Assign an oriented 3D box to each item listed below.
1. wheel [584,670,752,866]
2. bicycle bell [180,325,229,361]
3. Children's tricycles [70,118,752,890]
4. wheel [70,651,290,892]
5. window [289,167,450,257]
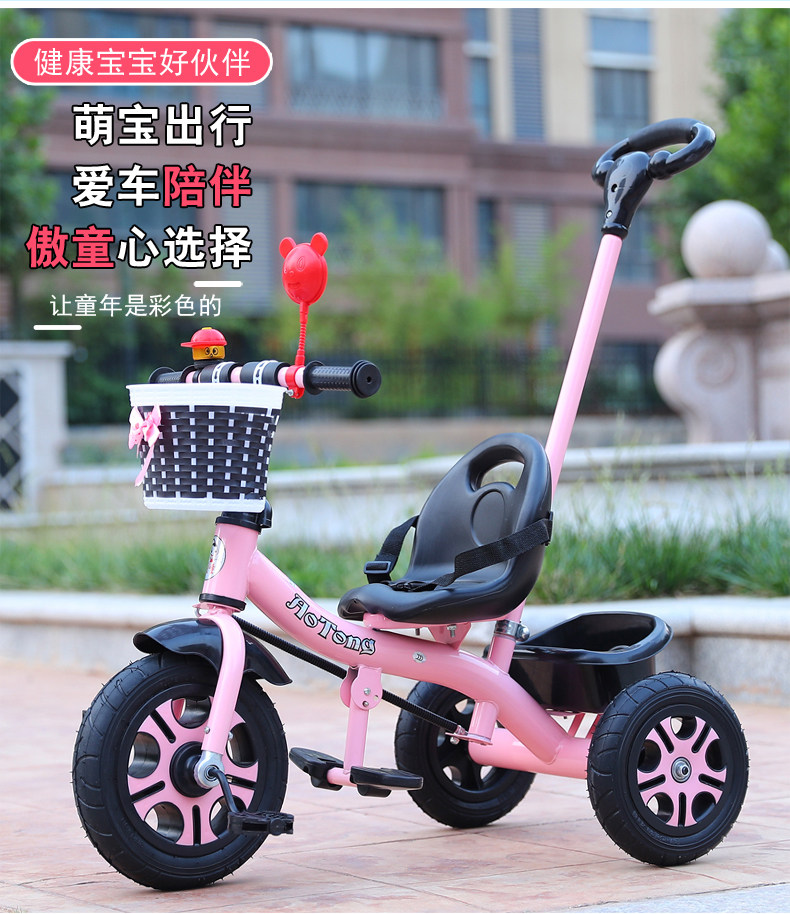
[{"bbox_3d":[0.681,0.801,4.689,0.493,0.468,0.129,6,-4,-27],"label":"wheel"},{"bbox_3d":[-0.481,-0.275,4.572,0.102,0.065,0.104,-1,1,26],"label":"bicycle bell"},{"bbox_3d":[0.020,0.102,4.742,1.715,1.956,0.916,-1,7,-10],"label":"Children's tricycles"},{"bbox_3d":[-0.510,0.769,4.426,0.473,0.476,0.115,31,-17,-30],"label":"wheel"},{"bbox_3d":[-0.239,-1.714,12.588,0.077,0.399,1.758,-13,18,-36],"label":"window"}]
